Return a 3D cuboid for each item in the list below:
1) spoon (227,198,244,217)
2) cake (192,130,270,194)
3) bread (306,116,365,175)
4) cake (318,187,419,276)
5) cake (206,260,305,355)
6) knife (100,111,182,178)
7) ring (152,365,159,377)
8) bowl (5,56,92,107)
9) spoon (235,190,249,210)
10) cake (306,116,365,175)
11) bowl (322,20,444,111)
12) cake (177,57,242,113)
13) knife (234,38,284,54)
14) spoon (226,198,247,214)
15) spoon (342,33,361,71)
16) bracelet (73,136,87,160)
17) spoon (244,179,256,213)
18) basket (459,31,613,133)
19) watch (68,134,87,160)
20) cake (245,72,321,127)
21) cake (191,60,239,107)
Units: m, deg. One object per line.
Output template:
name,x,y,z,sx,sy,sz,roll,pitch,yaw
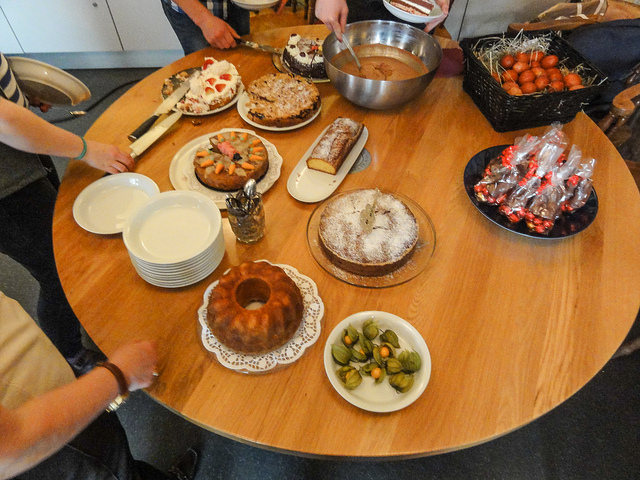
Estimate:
spoon,-0.319,-0.121,1.954,0.060,0.046,0.075,-17,62,-9
cake,-0.380,-0.337,2.183,0.262,0.102,0.281,31,62,16
bread,0.078,-0.443,2.334,0.167,0.097,0.315,19,55,26
cake,0.193,-0.035,2.036,0.386,0.092,0.361,24,64,13
cake,-0.230,0.250,1.852,0.318,0.112,0.316,20,63,11
knife,-0.800,-0.417,2.299,0.058,0.035,0.422,34,62,10
ring,-0.572,0.455,1.787,0.013,0.024,0.035,-24,63,-13
bowl,-1.224,-0.706,2.306,0.246,0.265,0.064,14,75,28
spoon,-0.298,-0.152,1.969,0.053,0.024,0.070,11,92,10
cake,0.071,-0.435,2.306,0.137,0.078,0.334,25,65,14
bowl,0.282,-0.850,2.509,0.568,0.260,0.481,19,63,11
cake,-0.535,-0.765,2.496,0.093,0.381,0.218,-16,93,24
knife,-0.344,-1.073,2.844,0.286,0.029,0.044,21,33,10
spoon,-0.317,-0.138,1.954,0.073,0.041,0.045,36,75,-5
spoon,0.152,-0.936,2.557,0.027,0.228,0.032,-26,18,8
bracelet,-0.991,-0.384,2.148,0.020,0.080,0.077,2,28,-35
spoon,-0.271,-0.172,1.954,0.038,0.077,0.101,7,60,5
basket,0.983,-0.761,2.423,0.504,0.255,0.670,-12,51,-5
watch,-1.007,-0.391,2.139,0.026,0.099,0.108,8,95,35
cake,-0.188,-0.694,2.536,0.378,0.100,0.441,-14,47,-18
cake,-0.505,-0.758,2.498,0.174,0.091,0.260,29,63,4
